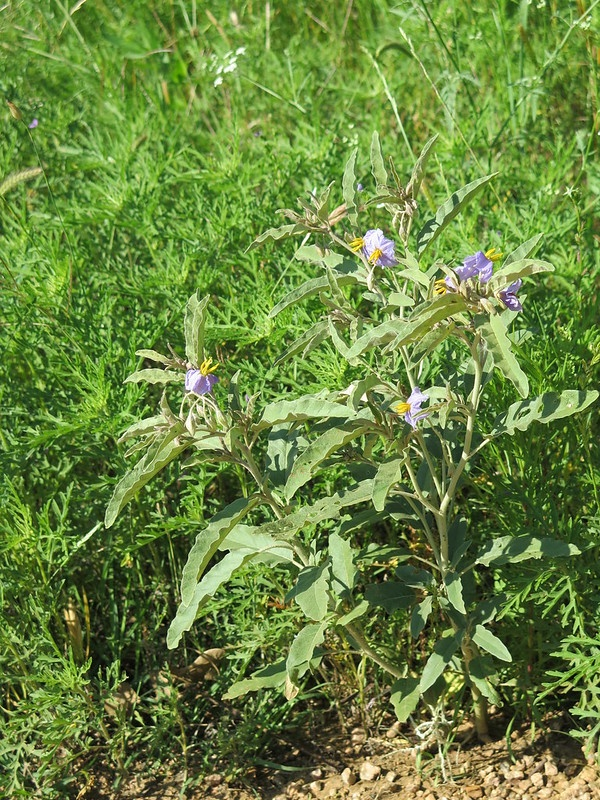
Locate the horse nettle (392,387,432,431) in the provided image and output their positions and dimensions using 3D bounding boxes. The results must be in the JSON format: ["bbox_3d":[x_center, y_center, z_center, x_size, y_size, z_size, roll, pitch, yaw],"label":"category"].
[{"bbox_3d":[0.198,0.011,1.343,0.080,0.028,0.071,-21,66,6],"label":"horse nettle"}]

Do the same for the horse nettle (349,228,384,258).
[{"bbox_3d":[0.137,-0.294,1.481,0.067,0.026,0.064,39,111,49],"label":"horse nettle"}]

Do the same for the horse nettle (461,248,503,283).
[{"bbox_3d":[0.301,-0.221,1.269,0.072,0.028,0.062,-12,66,-20],"label":"horse nettle"}]

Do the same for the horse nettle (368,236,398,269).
[{"bbox_3d":[0.156,-0.290,1.452,0.059,0.019,0.059,-16,64,26],"label":"horse nettle"}]
